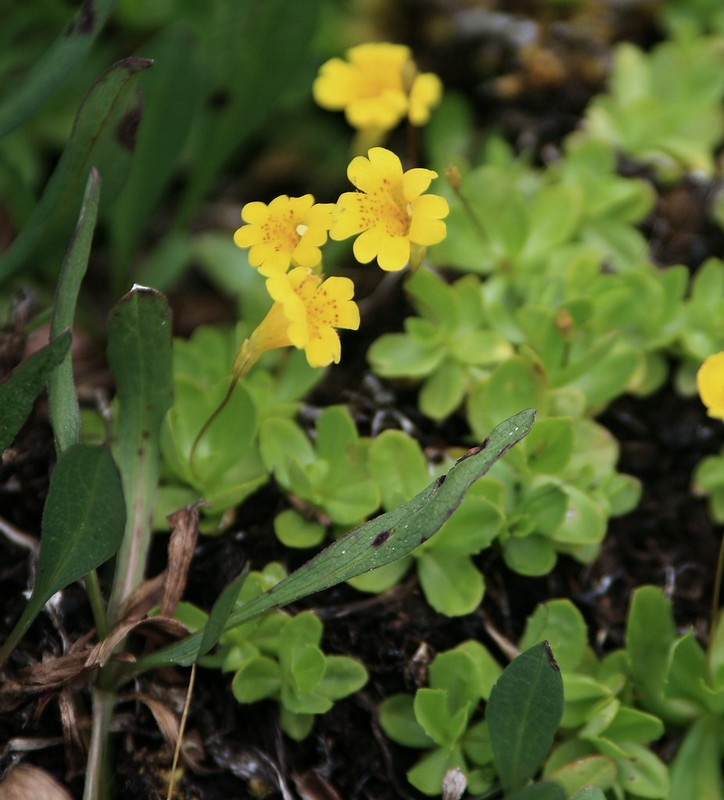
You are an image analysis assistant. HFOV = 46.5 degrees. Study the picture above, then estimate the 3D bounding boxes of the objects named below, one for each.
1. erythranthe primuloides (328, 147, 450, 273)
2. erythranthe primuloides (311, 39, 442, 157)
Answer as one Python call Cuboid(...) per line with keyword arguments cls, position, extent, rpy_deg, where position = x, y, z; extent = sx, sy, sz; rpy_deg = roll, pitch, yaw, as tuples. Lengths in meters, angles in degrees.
Cuboid(cls="erythranthe primuloides", position=(0.023, -0.144, 0.645), extent=(0.103, 0.084, 0.046), rpy_deg=(17, 11, -28))
Cuboid(cls="erythranthe primuloides", position=(0.017, -0.329, 0.891), extent=(0.102, 0.089, 0.108), rpy_deg=(28, 32, 9))
